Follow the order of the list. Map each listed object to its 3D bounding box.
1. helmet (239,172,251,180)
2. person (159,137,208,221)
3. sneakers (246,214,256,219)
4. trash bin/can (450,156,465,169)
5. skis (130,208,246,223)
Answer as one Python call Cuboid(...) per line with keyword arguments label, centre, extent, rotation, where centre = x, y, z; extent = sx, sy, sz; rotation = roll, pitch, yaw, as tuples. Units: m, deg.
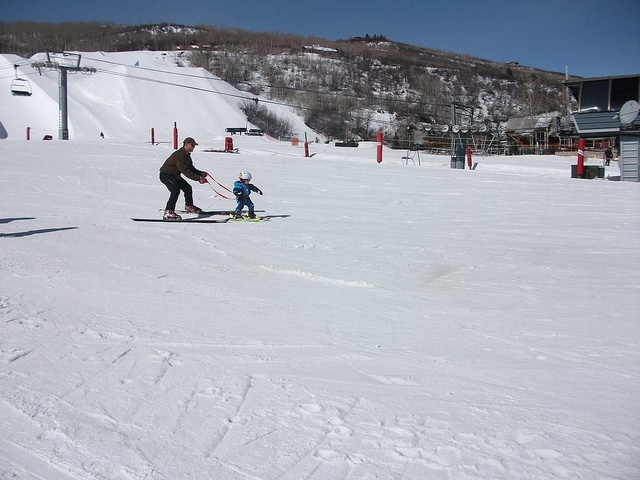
Cuboid(label="helmet", centre=(-1.320, -1.105, 10.535), extent=(0.189, 0.134, 0.237), rotation=(3, 10, -9))
Cuboid(label="person", centre=(-2.380, -1.073, 10.624), extent=(0.948, 1.362, 0.909), rotation=(6, 12, 8))
Cuboid(label="sneakers", centre=(-1.182, -0.432, 10.480), extent=(0.090, 0.111, 0.102), rotation=(-11, 4, -6))
Cuboid(label="trash bin/can", centre=(5.266, -3.022, 23.253), extent=(0.493, 0.479, 1.115), rotation=(6, 10, 10))
Cuboid(label="skis", centre=(-2.324, -0.415, 10.397), extent=(2.134, 0.136, 0.222), rotation=(1, 29, 1))
